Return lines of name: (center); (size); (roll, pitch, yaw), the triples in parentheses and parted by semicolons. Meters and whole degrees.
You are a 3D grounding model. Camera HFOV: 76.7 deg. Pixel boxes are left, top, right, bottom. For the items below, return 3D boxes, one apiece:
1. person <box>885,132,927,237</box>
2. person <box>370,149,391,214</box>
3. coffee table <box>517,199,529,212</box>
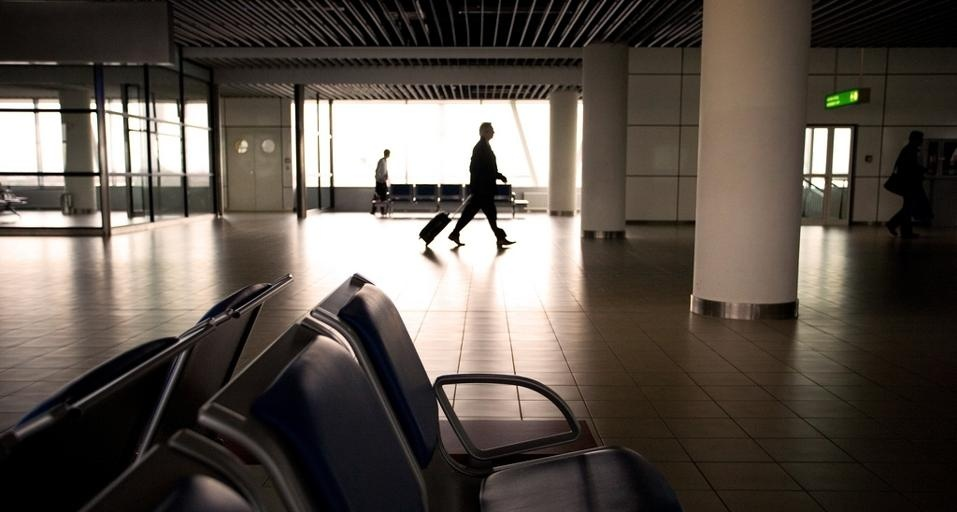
person: (9.655, -1.623, 13.734); (1.156, 2.299, 0.789); (-3, 1, 1)
person: (-3.335, -2.520, 20.560); (0.573, 2.204, 1.115); (-2, 10, -10)
coffee table: (1.573, -1.817, 21.892); (0.376, 0.501, 1.884); (1, 9, 4)
